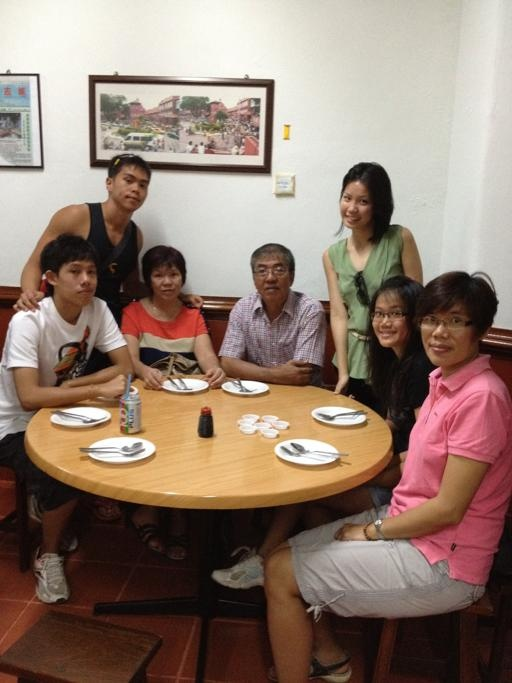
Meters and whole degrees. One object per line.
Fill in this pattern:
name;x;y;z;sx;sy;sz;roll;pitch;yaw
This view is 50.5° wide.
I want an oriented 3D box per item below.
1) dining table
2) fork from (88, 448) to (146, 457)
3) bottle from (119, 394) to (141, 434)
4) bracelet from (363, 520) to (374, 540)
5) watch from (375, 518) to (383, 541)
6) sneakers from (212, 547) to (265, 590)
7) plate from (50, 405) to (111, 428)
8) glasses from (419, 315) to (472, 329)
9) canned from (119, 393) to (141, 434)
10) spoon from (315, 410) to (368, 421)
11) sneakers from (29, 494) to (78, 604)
dining table;-0.096;0.324;1.728;0.970;0.538;0.928;1;10;2
fork;-0.383;0.298;1.485;0.105;0.014;0.050;1;5;-9
bottle;-0.385;0.224;1.662;0.084;0.139;0.080;1;23;0
bracelet;0.298;0.511;1.448;0.012;0.033;0.025;-15;-13;24
watch;0.320;0.492;1.417;0.030;0.044;0.042;4;41;11
sneakers;-0.049;0.832;2.015;0.245;0.128;0.090;-2;18;-3
plate;-0.570;0.246;1.764;0.097;0.013;0.090;-7;18;-33
glasses;0.473;-0.049;1.371;0.039;0.043;0.122;-7;15;-43
canned;-0.385;0.224;1.662;0.081;0.136;0.078;-5;25;-14
spoon;0.292;0.258;1.894;0.130;0.018;0.027;-1;23;-33
sneakers;-0.746;0.782;2.086;0.164;0.210;0.453;-2;55;-19
